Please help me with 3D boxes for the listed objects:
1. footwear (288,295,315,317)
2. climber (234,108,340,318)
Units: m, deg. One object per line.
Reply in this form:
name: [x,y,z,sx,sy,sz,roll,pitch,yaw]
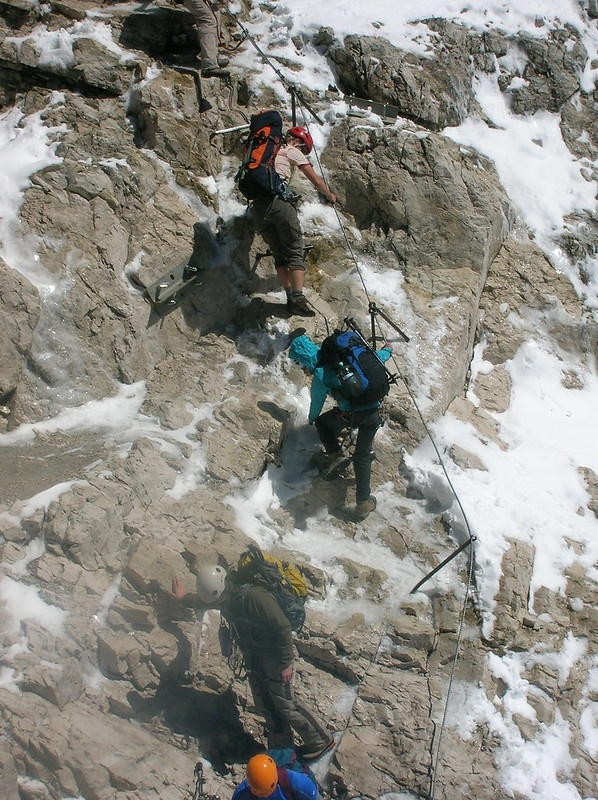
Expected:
footwear: [0.020,-1.154,12.050,0.395,0.343,0.166,-2,64,-9]
climber: [-0.236,-2.161,11.477,1.351,2.333,0.812,15,22,-17]
